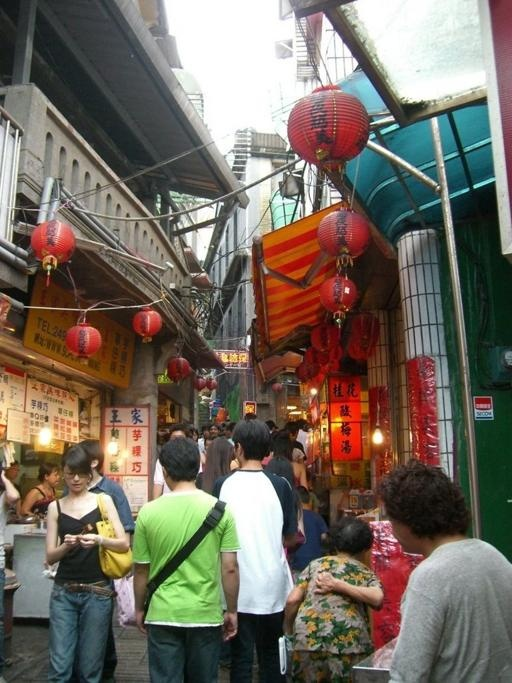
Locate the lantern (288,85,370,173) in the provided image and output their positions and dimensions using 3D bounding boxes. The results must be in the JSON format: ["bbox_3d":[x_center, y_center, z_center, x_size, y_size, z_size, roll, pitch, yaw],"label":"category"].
[{"bbox_3d":[0.470,-1.547,4.507,0.587,0.680,0.589,0,1,0],"label":"lantern"}]

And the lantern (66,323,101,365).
[{"bbox_3d":[-2.068,0.029,7.154,0.454,0.477,0.445,6,-5,-12],"label":"lantern"}]

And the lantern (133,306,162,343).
[{"bbox_3d":[-1.593,-0.244,8.657,0.518,0.582,0.492,1,-3,-11],"label":"lantern"}]

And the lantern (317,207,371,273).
[{"bbox_3d":[0.745,-0.873,5.205,0.481,0.586,0.476,0,-5,3],"label":"lantern"}]

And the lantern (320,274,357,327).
[{"bbox_3d":[0.847,-0.523,6.272,0.360,0.521,0.482,-4,-13,6],"label":"lantern"}]

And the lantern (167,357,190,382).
[{"bbox_3d":[-1.536,0.484,11.610,0.401,0.495,0.559,1,-13,-12],"label":"lantern"}]

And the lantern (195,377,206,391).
[{"bbox_3d":[-1.467,1.091,15.601,0.324,0.369,0.320,1,-2,7],"label":"lantern"}]

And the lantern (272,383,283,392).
[{"bbox_3d":[0.799,1.671,22.190,0.331,0.308,0.315,-5,6,-11],"label":"lantern"}]
